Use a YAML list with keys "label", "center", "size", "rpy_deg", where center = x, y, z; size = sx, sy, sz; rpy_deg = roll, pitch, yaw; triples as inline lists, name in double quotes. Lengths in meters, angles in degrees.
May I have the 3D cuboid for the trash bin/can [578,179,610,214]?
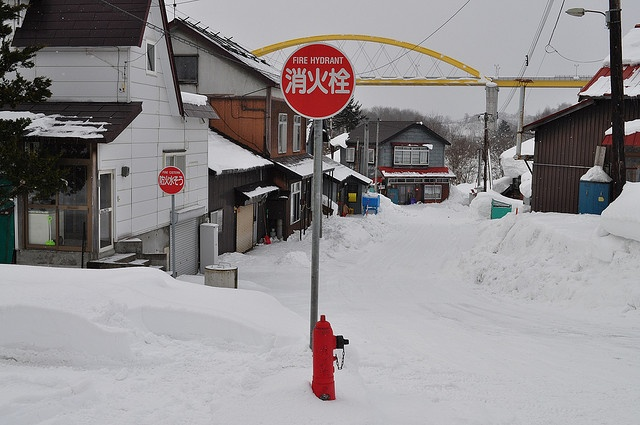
- label: "trash bin/can"
  center: [11.265, -0.595, 31.171]
  size: [1.204, 1.286, 0.783]
  rpy_deg: [3, 1, 11]
